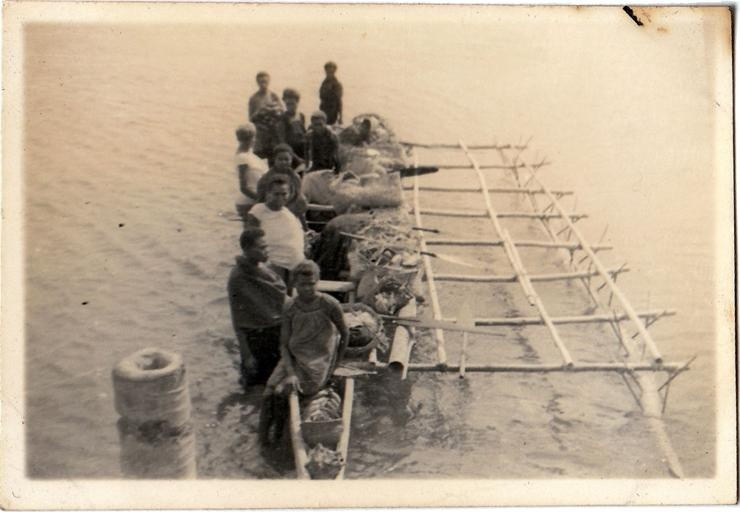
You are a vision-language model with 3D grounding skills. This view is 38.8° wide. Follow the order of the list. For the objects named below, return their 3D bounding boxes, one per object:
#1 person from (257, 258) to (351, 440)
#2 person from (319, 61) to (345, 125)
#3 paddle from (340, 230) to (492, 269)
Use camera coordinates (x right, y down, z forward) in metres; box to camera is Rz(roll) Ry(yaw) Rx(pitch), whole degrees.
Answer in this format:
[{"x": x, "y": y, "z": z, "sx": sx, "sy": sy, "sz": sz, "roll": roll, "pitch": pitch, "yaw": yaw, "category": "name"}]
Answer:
[{"x": -0.688, "y": 1.078, "z": 11.577, "sx": 0.802, "sy": 2.017, "sz": 0.501, "roll": 7, "pitch": 20, "yaw": 1, "category": "person"}, {"x": -0.456, "y": -1.984, "z": 12.793, "sx": 0.320, "sy": 0.760, "sz": 0.175, "roll": 6, "pitch": 20, "yaw": -3, "category": "person"}, {"x": 0.483, "y": -0.066, "z": 12.572, "sx": 2.386, "sy": 0.193, "sz": 0.097, "roll": 8, "pitch": 24, "yaw": -2, "category": "paddle"}]
